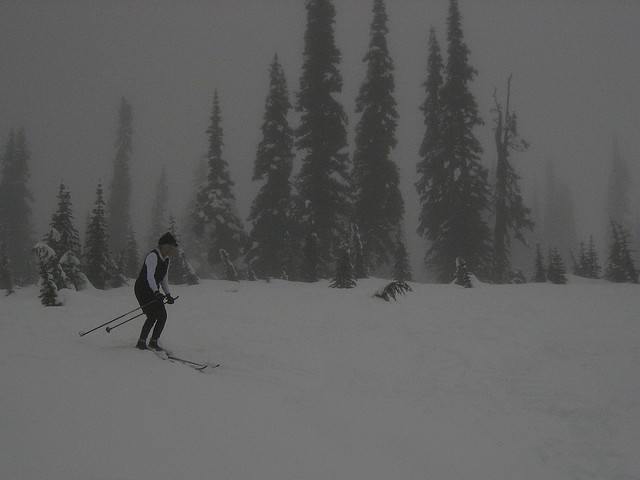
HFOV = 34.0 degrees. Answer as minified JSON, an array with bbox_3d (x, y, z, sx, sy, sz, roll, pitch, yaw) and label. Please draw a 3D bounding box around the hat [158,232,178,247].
[{"bbox_3d":[-5.563,-0.044,38.641,0.543,0.602,0.466,38,13,-2],"label":"hat"}]
